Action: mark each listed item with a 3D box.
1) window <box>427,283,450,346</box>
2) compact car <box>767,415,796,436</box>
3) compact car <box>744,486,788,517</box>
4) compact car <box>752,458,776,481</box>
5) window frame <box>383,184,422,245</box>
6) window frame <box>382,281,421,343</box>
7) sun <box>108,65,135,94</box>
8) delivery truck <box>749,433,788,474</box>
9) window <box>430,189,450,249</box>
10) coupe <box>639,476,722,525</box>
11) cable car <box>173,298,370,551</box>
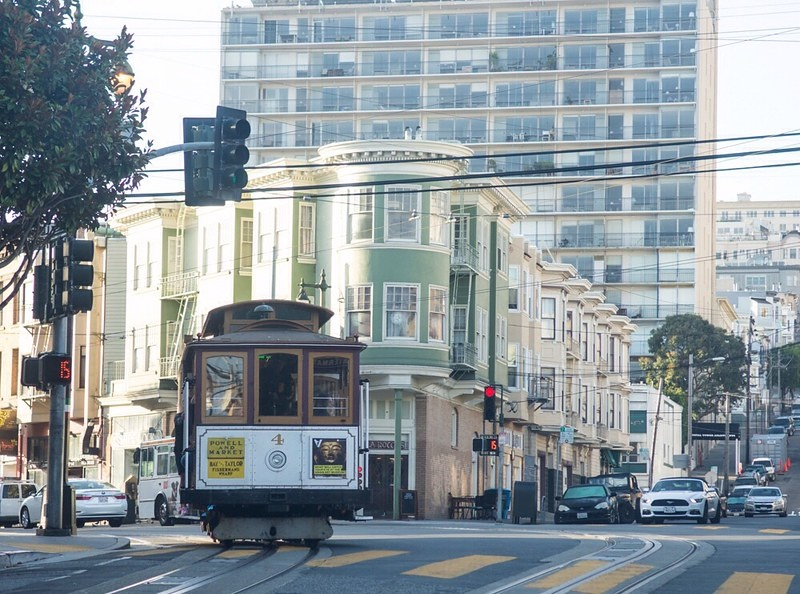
[{"bbox_3d":[1.729,0.688,97.983,0.422,3.013,2.811,-1,-3,21],"label":"window"},{"bbox_3d":[32.942,10.920,188.527,1.579,1.228,2.823,-1,-8,16],"label":"compact car"},{"bbox_3d":[16.760,9.466,100.880,2.172,1.436,1.836,-6,-9,33],"label":"compact car"},{"bbox_3d":[24.096,11.416,145.968,1.321,1.104,2.237,-2,-10,11],"label":"compact car"},{"bbox_3d":[0.185,-3.851,97.780,1.571,2.538,0.125,2,-6,-7],"label":"window frame"},{"bbox_3d":[0.183,0.574,97.221,1.590,2.500,0.189,1,0,19],"label":"window frame"},{"bbox_3d":[-8.696,-7.075,70.000,0.620,1.113,1.109,0,-8,-5],"label":"sun"},{"bbox_3d":[26.021,11.995,155.761,2.471,2.562,4.139,-2,-1,13],"label":"delivery truck"},{"bbox_3d":[1.850,-3.700,98.712,0.457,2.644,1.596,-4,-8,23],"label":"window"},{"bbox_3d":[11.393,8.396,89.394,3.372,1.933,6.531,0,-2,11],"label":"coupe"},{"bbox_3d":[-4.449,4.879,77.963,5.069,5.343,8.678,0,-6,-4],"label":"cable car"}]
